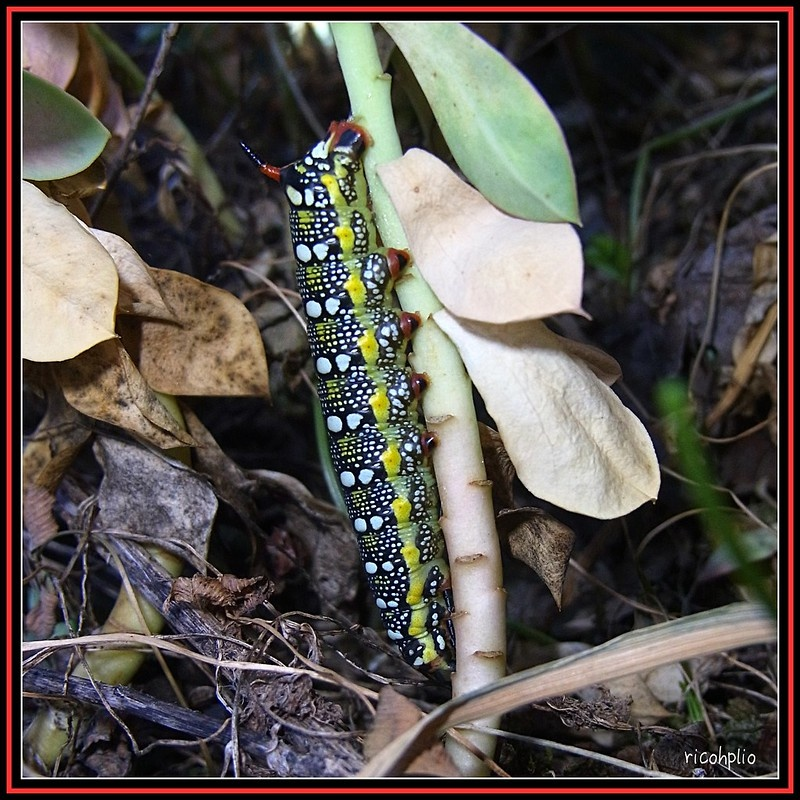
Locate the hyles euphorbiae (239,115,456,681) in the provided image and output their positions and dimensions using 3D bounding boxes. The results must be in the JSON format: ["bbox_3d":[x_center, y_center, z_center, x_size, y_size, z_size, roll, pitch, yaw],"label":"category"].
[{"bbox_3d":[0.005,0.023,1.269,0.236,0.204,0.817,-11,101,2],"label":"hyles euphorbiae"}]
